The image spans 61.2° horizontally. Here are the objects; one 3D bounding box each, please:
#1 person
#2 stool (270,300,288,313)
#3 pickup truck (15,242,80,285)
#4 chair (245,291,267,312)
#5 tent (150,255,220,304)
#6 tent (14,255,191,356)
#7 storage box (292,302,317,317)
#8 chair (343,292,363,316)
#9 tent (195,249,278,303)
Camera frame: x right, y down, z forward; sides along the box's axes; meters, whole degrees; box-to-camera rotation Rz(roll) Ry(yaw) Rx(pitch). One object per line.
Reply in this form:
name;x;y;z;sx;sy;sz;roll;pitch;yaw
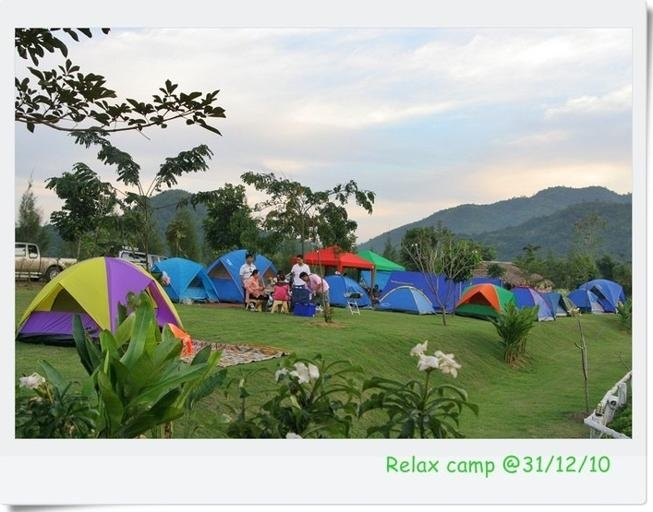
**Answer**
person;-0.841;0.636;12.599;0.733;1.272;2.735;0;-3;-45
stool;-1.100;1.210;12.781;0.297;0.242;0.309;1;-11;-6
pickup truck;-8.092;0.212;15.821;2.354;1.119;1.286;8;-7;-42
chair;-1.714;1.110;13.331;0.414;0.412;0.520;-1;-3;21
tent;-4.105;0.688;15.419;1.326;0.960;1.373;0;-1;28
tent;-3.524;0.626;8.470;1.880;1.290;1.924;-3;-3;29
storage box;-0.508;1.196;12.239;0.487;0.304;0.374;-1;-2;-2
chair;0.706;1.283;14.878;0.472;0.662;0.453;1;-12;-4
tent;-2.452;0.549;16.293;1.653;1.184;1.699;0;2;30
